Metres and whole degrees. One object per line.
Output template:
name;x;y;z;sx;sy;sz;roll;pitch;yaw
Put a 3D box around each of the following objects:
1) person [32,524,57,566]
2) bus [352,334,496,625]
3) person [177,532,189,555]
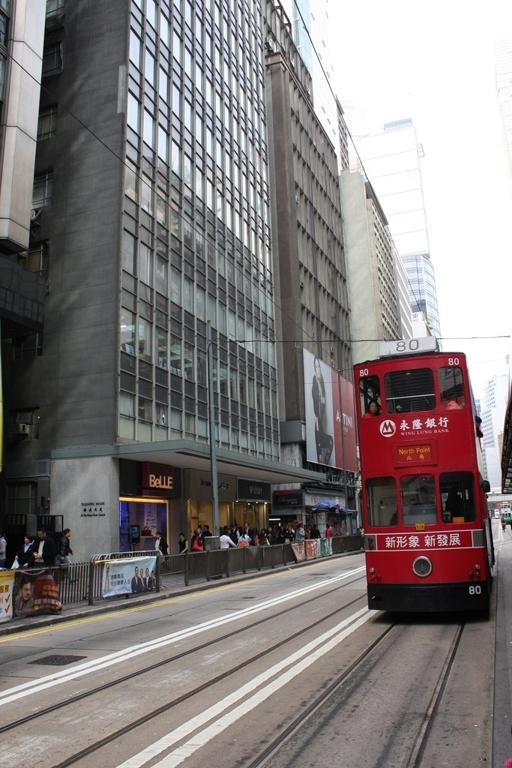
person;-5.721;4.419;13.812;0.551;0.955;1.340;0;-13;-17
bus;4.388;2.369;12.578;1.943;5.048;7.286;-8;-16;23
person;-3.352;7.348;23.744;0.346;0.879;1.858;-1;-13;-12
